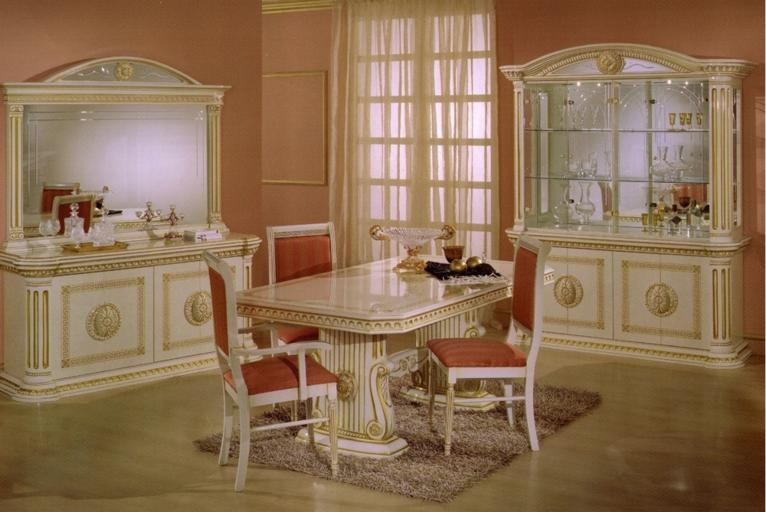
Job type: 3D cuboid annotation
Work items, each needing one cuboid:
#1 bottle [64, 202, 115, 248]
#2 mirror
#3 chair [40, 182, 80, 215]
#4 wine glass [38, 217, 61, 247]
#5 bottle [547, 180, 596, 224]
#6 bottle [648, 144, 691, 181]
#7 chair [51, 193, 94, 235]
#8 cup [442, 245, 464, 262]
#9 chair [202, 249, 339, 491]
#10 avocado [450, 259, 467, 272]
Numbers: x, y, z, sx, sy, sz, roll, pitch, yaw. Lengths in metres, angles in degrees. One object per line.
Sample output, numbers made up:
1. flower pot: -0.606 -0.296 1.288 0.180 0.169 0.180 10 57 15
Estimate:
1. bottle: -2.347 -0.246 5.014 0.334 0.330 0.130 3 8 15
2. mirror: -2.248 -0.878 5.162 1.543 1.205 0.216 -5 7 -41
3. chair: -2.578 -0.453 5.079 0.215 0.349 0.260 4 4 31
4. wine glass: -2.584 -0.206 4.893 0.184 0.261 0.184 1 4 24
5. bottle: 1.797 -0.525 5.954 0.389 0.372 0.164 1 3 26
6. bottle: 2.551 -0.827 5.604 0.319 0.311 0.081 5 11 26
7. chair: -2.457 -0.368 5.043 0.276 0.427 0.317 12 13 38
8. cup: 0.500 -0.026 4.431 0.119 0.089 0.118 -2 5 0
9. chair: -0.655 0.582 3.707 0.709 1.252 0.821 -3 10 -17
10. avocado: 0.501 0.057 4.230 0.088 0.071 0.069 -4 -20 9
